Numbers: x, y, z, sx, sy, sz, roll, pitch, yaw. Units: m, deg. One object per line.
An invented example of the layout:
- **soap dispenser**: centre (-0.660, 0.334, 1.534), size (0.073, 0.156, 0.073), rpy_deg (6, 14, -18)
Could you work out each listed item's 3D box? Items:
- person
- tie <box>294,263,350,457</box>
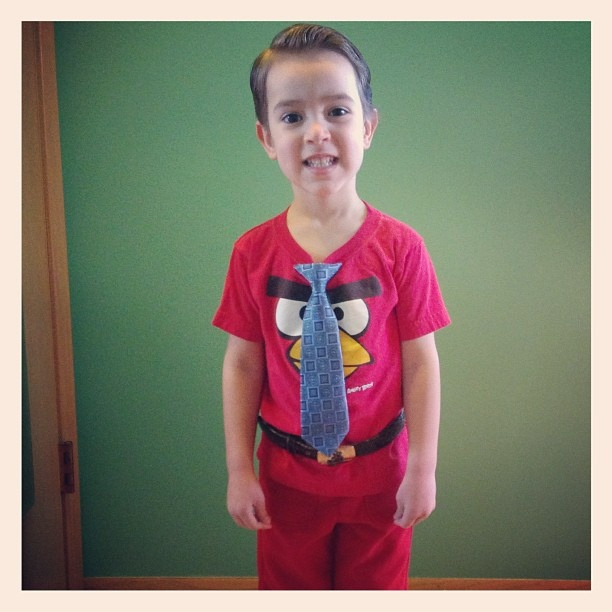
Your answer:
- **person**: centre (0.045, 0.050, 1.390), size (0.527, 1.139, 0.244), rpy_deg (-5, 1, 12)
- **tie**: centre (0.034, 0.115, 1.330), size (0.107, 0.380, 0.061), rpy_deg (-5, 1, 6)
